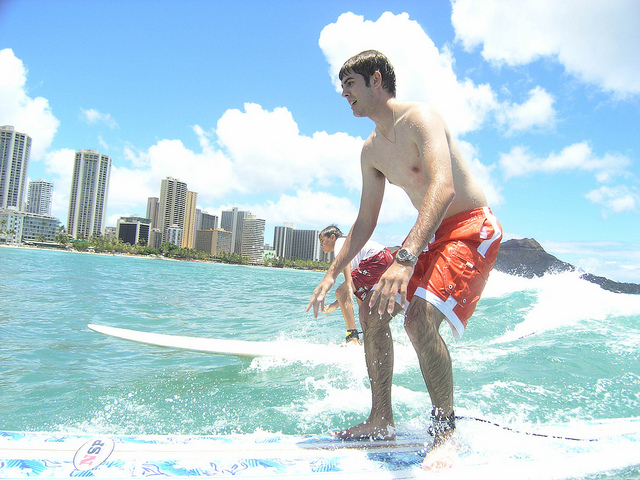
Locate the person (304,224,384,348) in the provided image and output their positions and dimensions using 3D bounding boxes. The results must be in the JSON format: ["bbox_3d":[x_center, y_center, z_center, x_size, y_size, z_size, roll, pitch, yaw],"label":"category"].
[{"bbox_3d":[0.442,0.679,6.487,1.375,2.109,1.044,-3,-19,-8],"label":"person"}]

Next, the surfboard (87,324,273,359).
[{"bbox_3d":[-2.289,1.632,6.418,2.565,0.205,0.315,5,7,3],"label":"surfboard"}]
